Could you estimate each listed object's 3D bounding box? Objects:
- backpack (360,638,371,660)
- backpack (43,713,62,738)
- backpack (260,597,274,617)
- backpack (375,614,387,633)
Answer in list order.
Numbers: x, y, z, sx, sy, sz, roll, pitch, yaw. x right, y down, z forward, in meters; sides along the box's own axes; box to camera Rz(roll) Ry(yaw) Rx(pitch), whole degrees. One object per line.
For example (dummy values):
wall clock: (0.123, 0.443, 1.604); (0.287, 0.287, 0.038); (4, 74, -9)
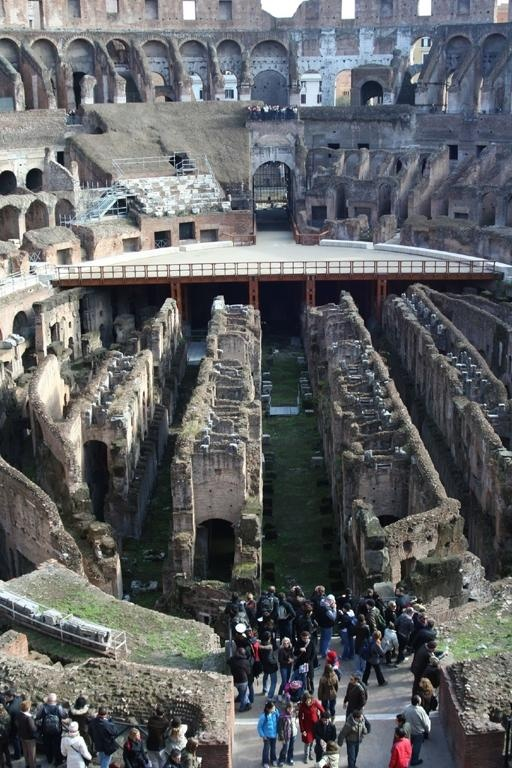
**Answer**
backpack: (1.437, 3.502, 12.254); (0.132, 0.251, 0.222); (5, -19, -13)
backpack: (-2.275, 3.756, 10.214); (0.219, 0.217, 0.209); (5, -17, -12)
backpack: (0.155, 3.144, 13.120); (0.158, 0.254, 0.227); (0, -16, 3)
backpack: (1.698, 3.255, 12.588); (0.075, 0.246, 0.173); (-16, -29, 17)
